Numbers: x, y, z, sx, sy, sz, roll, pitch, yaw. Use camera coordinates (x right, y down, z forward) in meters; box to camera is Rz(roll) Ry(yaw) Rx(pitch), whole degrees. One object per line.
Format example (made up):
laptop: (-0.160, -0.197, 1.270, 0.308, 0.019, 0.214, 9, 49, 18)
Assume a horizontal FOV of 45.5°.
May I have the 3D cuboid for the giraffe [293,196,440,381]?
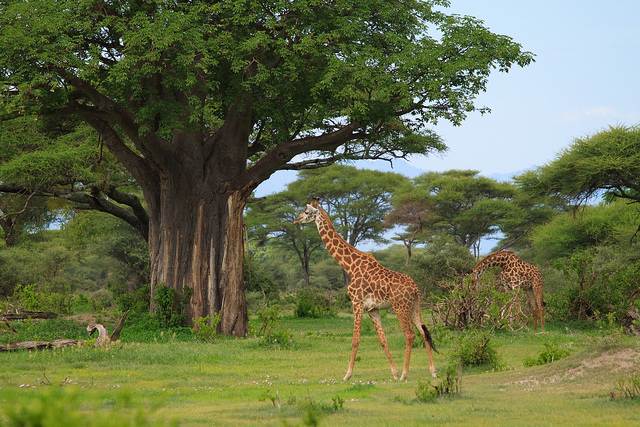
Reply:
giraffe: (1.641, 2.397, 24.662, 4.378, 5.739, 1.708, 6, 10, 42)
